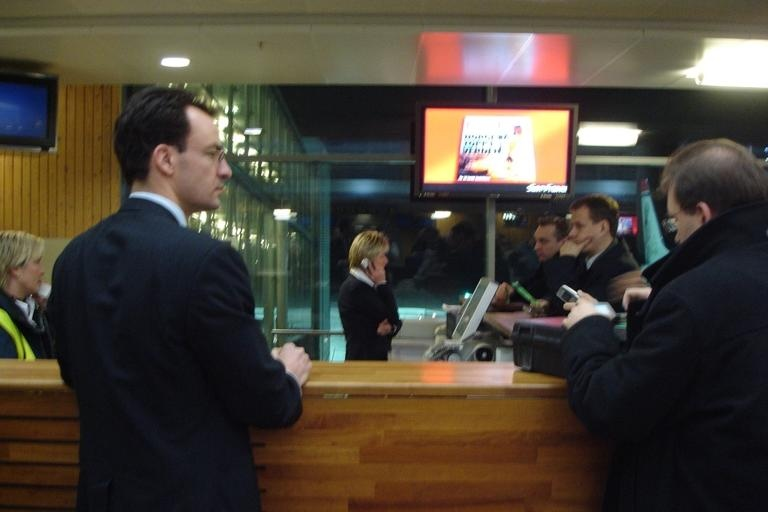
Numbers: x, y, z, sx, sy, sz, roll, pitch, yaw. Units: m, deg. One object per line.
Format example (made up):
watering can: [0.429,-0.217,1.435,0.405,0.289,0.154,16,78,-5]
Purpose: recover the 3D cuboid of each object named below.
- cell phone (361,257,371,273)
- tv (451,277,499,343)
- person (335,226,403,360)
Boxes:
cell phone: [-0.127,0.058,4.666,0.071,0.081,0.082,6,1,-23]
tv: [0.455,0.272,3.409,0.066,0.286,0.287,25,-4,3]
person: [-0.108,0.281,4.718,0.409,0.878,0.426,0,6,-5]
